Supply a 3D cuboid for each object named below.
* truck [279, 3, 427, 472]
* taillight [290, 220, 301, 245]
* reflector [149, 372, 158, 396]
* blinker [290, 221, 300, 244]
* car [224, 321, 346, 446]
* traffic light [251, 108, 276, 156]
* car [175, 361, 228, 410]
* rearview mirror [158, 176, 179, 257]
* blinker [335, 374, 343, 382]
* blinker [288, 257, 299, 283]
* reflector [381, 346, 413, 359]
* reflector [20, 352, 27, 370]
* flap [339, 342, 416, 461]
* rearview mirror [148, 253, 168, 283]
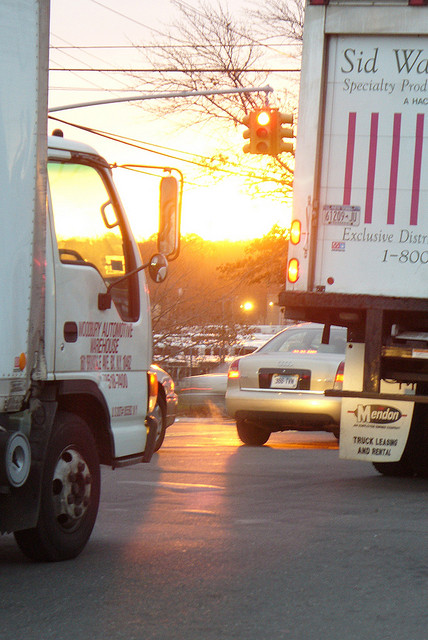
[{"bbox_3d":[1.523,-0.671,5.617,1.574,4.663,1.987,2,8,10],"label":"truck"},{"bbox_3d":[0.777,-0.825,5.268,0.048,0.195,0.142,5,3,-33],"label":"taillight"},{"bbox_3d":[-0.502,0.530,4.560,0.033,0.198,0.152,3,8,13],"label":"reflector"},{"bbox_3d":[0.773,-0.822,5.272,0.053,0.158,0.168,2,-19,-21],"label":"blinker"},{"bbox_3d":[1.229,1.114,9.514,1.366,1.074,3.115,1,2,15],"label":"car"},{"bbox_3d":[1.261,-4.743,14.101,0.648,1.195,0.446,1,8,5],"label":"traffic light"},{"bbox_3d":[-0.404,2.269,17.676,1.870,0.804,1.126,0,0,12],"label":"car"},{"bbox_3d":[-0.307,-0.691,3.822,0.172,0.585,0.038,1,1,22],"label":"rearview mirror"},{"bbox_3d":[2.053,0.964,9.087,0.118,0.108,0.029,-5,-23,26],"label":"blinker"},{"bbox_3d":[0.749,-0.461,5.263,0.123,0.235,0.044,9,11,44],"label":"blinker"},{"bbox_3d":[1.675,0.307,5.079,0.275,0.105,0.074,3,8,13],"label":"reflector"},{"bbox_3d":[-0.896,0.195,2.611,0.015,0.060,0.059,-1,20,17],"label":"reflector"},{"bbox_3d":[1.839,1.069,6.234,0.819,1.060,0.110,3,12,6],"label":"flap"},{"bbox_3d":[-0.379,-0.348,3.795,0.077,0.162,0.172,-4,8,13],"label":"rearview mirror"}]
